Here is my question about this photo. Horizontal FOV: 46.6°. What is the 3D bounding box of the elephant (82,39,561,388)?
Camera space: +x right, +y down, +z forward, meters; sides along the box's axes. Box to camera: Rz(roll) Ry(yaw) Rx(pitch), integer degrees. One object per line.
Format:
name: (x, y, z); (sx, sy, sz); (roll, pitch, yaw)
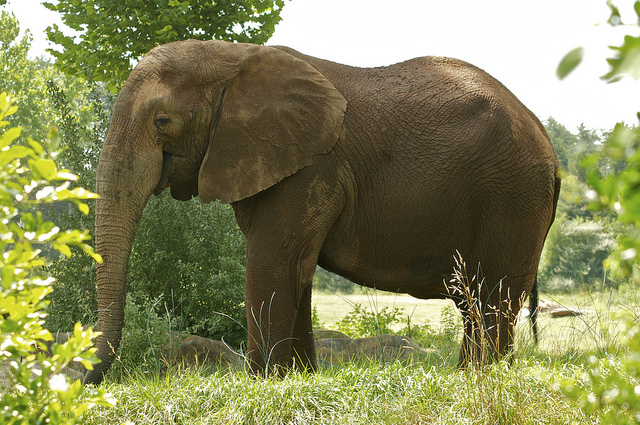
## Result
elephant: (0.139, 0.175, 8.196); (4.903, 3.906, 2.476); (3, 5, -3)
